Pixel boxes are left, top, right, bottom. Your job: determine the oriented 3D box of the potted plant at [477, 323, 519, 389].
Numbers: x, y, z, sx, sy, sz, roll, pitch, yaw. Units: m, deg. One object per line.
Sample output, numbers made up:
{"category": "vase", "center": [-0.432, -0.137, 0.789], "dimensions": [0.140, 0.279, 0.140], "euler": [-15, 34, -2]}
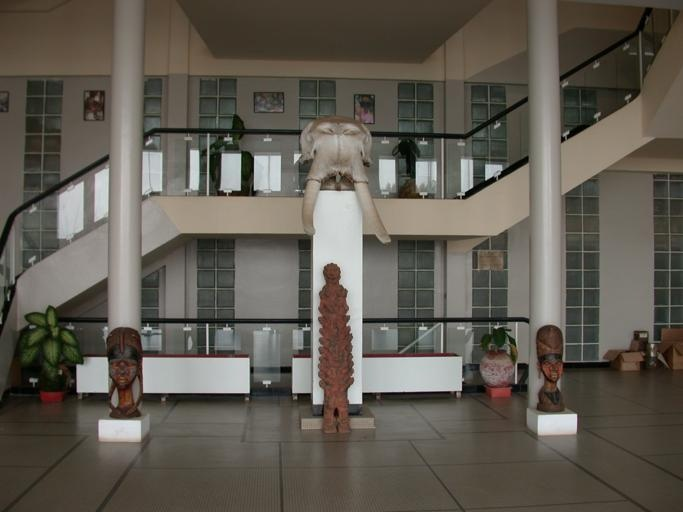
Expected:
{"category": "potted plant", "center": [2.340, 1.567, 9.867], "dimensions": [0.717, 1.135, 0.811], "euler": [4, -4, -31]}
